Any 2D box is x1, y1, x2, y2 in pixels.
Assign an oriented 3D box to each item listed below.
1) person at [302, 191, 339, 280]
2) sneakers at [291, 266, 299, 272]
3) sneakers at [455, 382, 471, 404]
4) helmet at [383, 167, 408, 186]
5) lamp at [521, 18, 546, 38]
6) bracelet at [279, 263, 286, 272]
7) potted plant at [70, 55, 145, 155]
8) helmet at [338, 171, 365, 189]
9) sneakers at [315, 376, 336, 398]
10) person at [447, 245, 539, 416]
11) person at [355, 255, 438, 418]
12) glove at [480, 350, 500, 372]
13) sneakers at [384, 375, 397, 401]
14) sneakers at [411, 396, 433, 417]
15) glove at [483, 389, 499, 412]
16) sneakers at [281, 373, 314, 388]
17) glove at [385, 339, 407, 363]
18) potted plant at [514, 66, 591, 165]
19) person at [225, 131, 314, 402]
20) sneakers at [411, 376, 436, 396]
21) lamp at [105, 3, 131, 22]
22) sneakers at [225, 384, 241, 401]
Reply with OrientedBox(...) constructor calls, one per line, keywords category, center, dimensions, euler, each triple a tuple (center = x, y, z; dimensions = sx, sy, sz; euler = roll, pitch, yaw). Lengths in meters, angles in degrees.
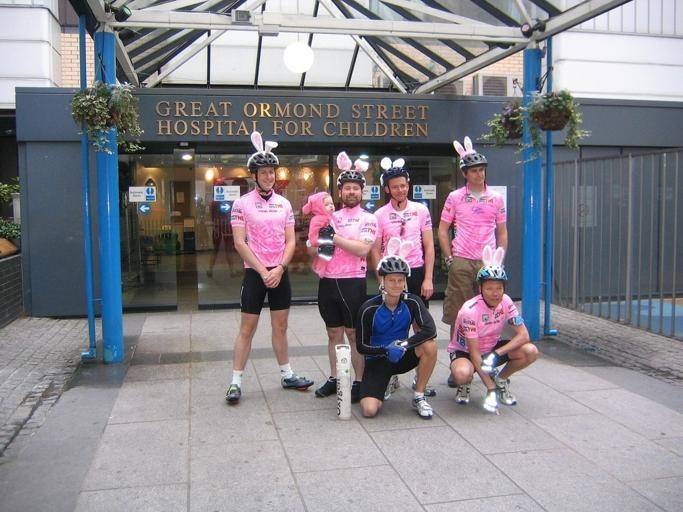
OrientedBox(category="person", center=(-0.250, -0.248, 6.250), dimensions=(0.312, 0.887, 0.722), euler=(-1, 7, -4))
OrientedBox(category="sneakers", center=(-0.918, 0.252, 11.324), dimensions=(0.149, 0.157, 0.084), euler=(2, 7, -6))
OrientedBox(category="sneakers", center=(1.258, 1.439, 5.938), dimensions=(0.089, 0.213, 0.292), euler=(2, -9, 7))
OrientedBox(category="helmet", center=(0.580, -0.864, 6.204), dimensions=(0.279, 0.192, 0.244), euler=(0, 7, 4))
OrientedBox(category="lamp", center=(2.725, -3.238, 8.120), dimensions=(0.329, 0.217, 0.166), euler=(3, 7, 23))
OrientedBox(category="bracelet", center=(-0.612, 0.114, 6.024), dimensions=(0.051, 0.079, 0.072), euler=(-27, -5, -29))
OrientedBox(category="potted plant", center=(-2.873, -1.764, 6.799), dimensions=(0.530, 0.616, 0.590), euler=(-16, 14, -24))
OrientedBox(category="helmet", center=(0.113, -0.817, 6.032), dimensions=(0.250, 0.186, 0.302), euler=(3, 8, 26))
OrientedBox(category="sneakers", center=(-0.158, 1.438, 6.216), dimensions=(0.103, 0.141, 0.312), euler=(-8, -14, 25))
OrientedBox(category="person", center=(1.526, 0.710, 5.806), dimensions=(0.863, 1.658, 0.676), euler=(3, 7, 24))
OrientedBox(category="person", center=(0.544, 0.781, 5.632), dimensions=(0.758, 1.587, 0.428), euler=(1, 7, 9))
OrientedBox(category="glove", center=(1.480, 1.046, 5.728), dimensions=(0.137, 0.175, 0.339), euler=(3, 8, 30))
OrientedBox(category="sneakers", center=(0.543, 1.428, 6.196), dimensions=(0.099, 0.135, 0.295), euler=(-25, 4, 35))
OrientedBox(category="sneakers", center=(0.809, 1.500, 5.686), dimensions=(0.099, 0.112, 0.267), euler=(-2, -4, -12))
OrientedBox(category="glove", center=(1.468, 1.432, 5.652), dimensions=(0.159, 0.242, 0.067), euler=(-6, 12, -34))
OrientedBox(category="sneakers", center=(-0.496, 1.390, 6.436), dimensions=(0.357, 0.165, 0.144), euler=(1, -1, 3))
OrientedBox(category="glove", center=(0.513, 0.923, 5.541), dimensions=(0.210, 0.201, 0.209), euler=(5, 9, 40))
OrientedBox(category="potted plant", center=(2.947, -1.949, 7.914), dimensions=(0.835, 0.682, 0.711), euler=(4, 17, 36))
OrientedBox(category="person", center=(-0.833, 0.089, 6.170), dimensions=(0.847, 2.832, 0.689), euler=(-1, 7, -4))
OrientedBox(category="sneakers", center=(0.865, 1.410, 6.176), dimensions=(0.142, 0.251, 0.374), euler=(1, -9, -13))
OrientedBox(category="lamp", center=(-2.806, -3.063, 7.191), dimensions=(0.200, 0.174, 0.397), euler=(6, 9, 41))
OrientedBox(category="sneakers", center=(-1.148, 1.441, 6.047), dimensions=(0.163, 0.183, 0.202), euler=(-2, 7, -13))
